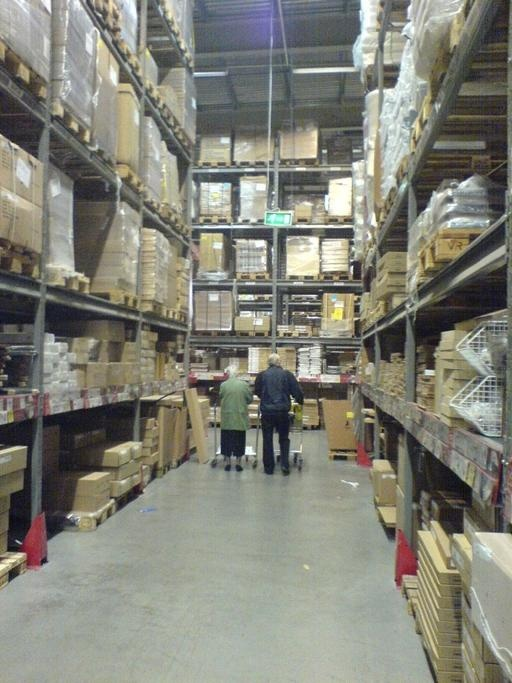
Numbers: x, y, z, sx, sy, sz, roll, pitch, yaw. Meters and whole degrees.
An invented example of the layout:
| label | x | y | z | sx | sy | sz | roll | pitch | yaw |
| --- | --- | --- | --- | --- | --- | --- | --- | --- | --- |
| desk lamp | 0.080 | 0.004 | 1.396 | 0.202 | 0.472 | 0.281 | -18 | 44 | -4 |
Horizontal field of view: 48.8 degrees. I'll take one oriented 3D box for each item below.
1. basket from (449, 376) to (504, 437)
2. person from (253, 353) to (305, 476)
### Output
| label | x | y | z | sx | sy | sz | roll | pitch | yaw |
| --- | --- | --- | --- | --- | --- | --- | --- | --- | --- |
| basket | 0.874 | 0.243 | 2.174 | 0.140 | 0.223 | 0.385 | 1 | -3 | -5 |
| person | 0.368 | 0.991 | 8.390 | 0.649 | 1.870 | 0.691 | -3 | 14 | -14 |
